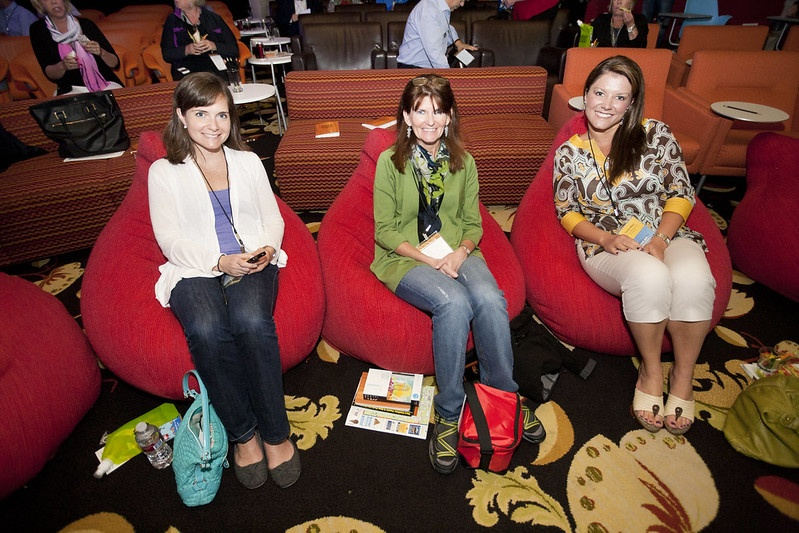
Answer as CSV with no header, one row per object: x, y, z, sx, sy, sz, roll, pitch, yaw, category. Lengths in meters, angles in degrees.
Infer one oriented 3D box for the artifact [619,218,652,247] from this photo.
1.372,-0.196,2.753,0.155,0.043,0.158,41,91,23,artifact

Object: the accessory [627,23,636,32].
2.725,-2.814,5.576,0.092,0.070,0.091,-5,44,4,accessory

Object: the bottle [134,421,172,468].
-1.284,0.938,2.461,0.113,0.284,0.115,-2,48,3,bottle

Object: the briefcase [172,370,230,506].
-0.973,0.867,2.344,0.211,0.498,0.460,6,35,-20,briefcase

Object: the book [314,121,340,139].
-0.624,-1.195,4.121,0.215,0.053,0.212,-5,42,3,book

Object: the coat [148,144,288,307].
-1.043,-0.295,2.632,0.706,0.346,0.952,-11,77,-26,coat

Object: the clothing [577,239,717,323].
1.419,0.110,2.648,0.386,0.218,0.599,-7,23,1,clothing

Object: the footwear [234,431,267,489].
-0.762,1.009,2.426,0.141,0.069,0.292,-13,83,-3,footwear

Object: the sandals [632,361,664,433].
1.382,0.708,2.635,0.143,0.107,0.377,2,53,14,sandals

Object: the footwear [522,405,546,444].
0.732,0.872,2.582,0.085,0.076,0.185,-23,47,-22,footwear

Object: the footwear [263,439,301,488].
-0.621,1.024,2.505,0.147,0.060,0.298,-13,38,-22,footwear

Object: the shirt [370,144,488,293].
0.159,-0.257,2.711,0.695,0.797,0.423,-8,23,-14,shirt

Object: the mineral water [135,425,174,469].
-1.279,0.946,2.456,0.119,0.298,0.121,23,53,28,mineral water

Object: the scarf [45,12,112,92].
-3.056,-1.960,4.420,0.285,0.665,0.144,24,54,3,scarf

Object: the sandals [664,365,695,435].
1.575,0.752,2.653,0.147,0.102,0.413,8,44,28,sandals

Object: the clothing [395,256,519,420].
0.337,0.377,2.638,0.508,0.332,0.828,-2,62,-9,clothing

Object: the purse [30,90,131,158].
-2.521,-1.111,3.889,0.567,0.461,0.283,-14,14,1,purse

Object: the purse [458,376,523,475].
0.485,0.807,2.483,0.340,0.160,0.410,16,38,24,purse

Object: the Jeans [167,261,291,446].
-0.818,0.441,2.380,0.554,0.878,0.303,-8,-2,-17,Jeans

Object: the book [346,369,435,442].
-0.047,0.790,2.657,0.425,0.141,0.319,7,71,8,book

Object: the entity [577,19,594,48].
2.174,-2.705,5.527,0.177,0.227,1.051,8,34,17,entity
